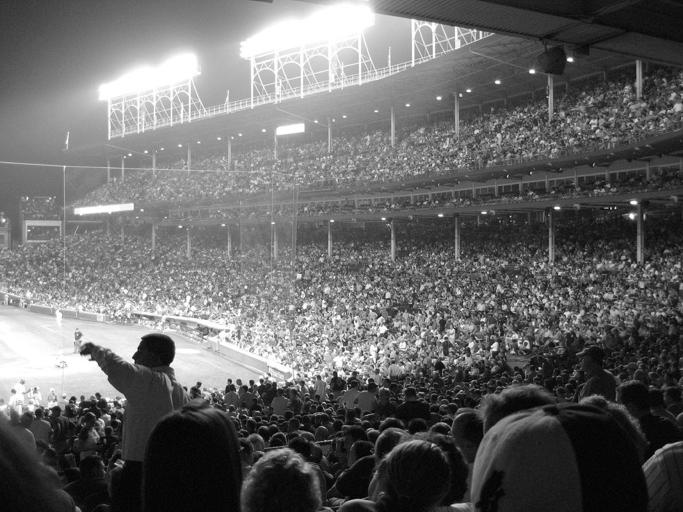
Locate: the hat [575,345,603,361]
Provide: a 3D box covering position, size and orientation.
[{"bbox_3d":[4.150,1.623,12.898,0.357,0.231,0.389,1,-5,-30],"label":"hat"}]
